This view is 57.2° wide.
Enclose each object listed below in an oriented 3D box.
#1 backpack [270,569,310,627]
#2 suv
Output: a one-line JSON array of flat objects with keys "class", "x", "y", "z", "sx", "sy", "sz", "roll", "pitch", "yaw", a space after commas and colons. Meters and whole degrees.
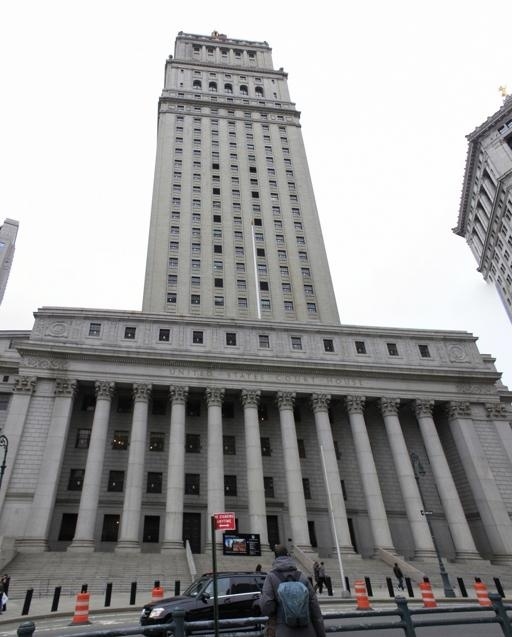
[{"class": "backpack", "x": 0.304, "y": 3.213, "z": 5.357, "sx": 0.544, "sy": 0.687, "sz": 0.373, "roll": 0, "pitch": -42, "yaw": -3}, {"class": "suv", "x": -1.275, "y": 7.235, "z": 12.074, "sx": 2.753, "sy": 1.605, "sz": 3.291, "roll": -10, "pitch": -38, "yaw": 3}]
